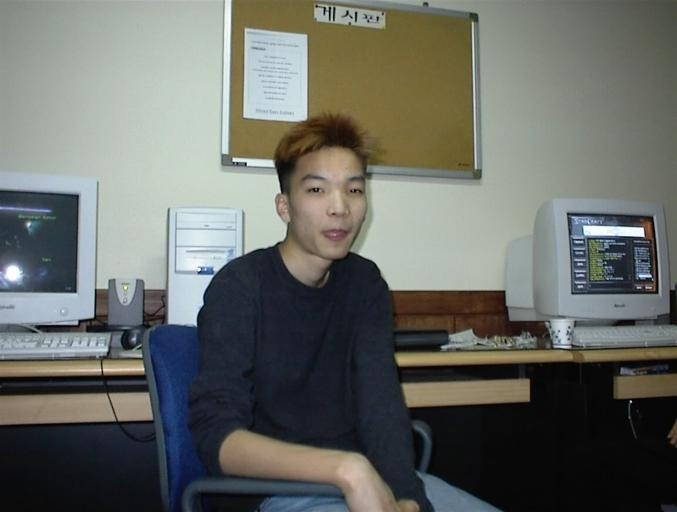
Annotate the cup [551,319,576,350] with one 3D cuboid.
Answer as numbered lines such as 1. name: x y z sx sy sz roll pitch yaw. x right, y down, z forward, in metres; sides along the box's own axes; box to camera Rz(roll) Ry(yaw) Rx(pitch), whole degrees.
1. cup: 0.899 0.317 2.245 0.102 0.119 0.106 3 -11 0

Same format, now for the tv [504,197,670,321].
1. tv: 1.134 0.025 2.681 0.555 0.583 0.573 2 -7 -7

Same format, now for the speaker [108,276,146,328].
1. speaker: -0.848 0.189 2.218 0.134 0.193 0.139 -1 3 -21
